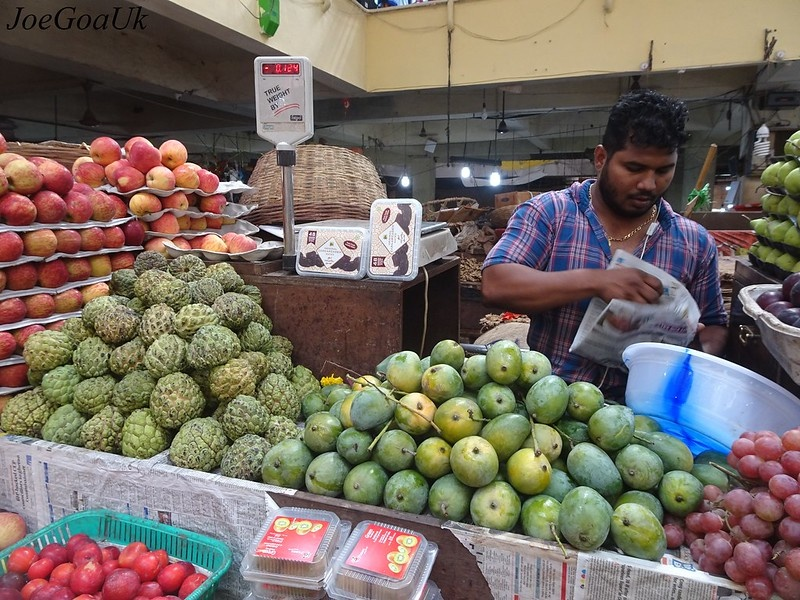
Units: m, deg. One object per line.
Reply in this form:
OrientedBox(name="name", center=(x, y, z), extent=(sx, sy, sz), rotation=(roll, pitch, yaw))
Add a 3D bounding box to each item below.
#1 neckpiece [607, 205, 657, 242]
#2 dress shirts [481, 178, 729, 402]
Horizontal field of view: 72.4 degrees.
OrientedBox(name="neckpiece", center=(0.931, -0.319, 2.232), extent=(0.033, 0.181, 0.140), rotation=(39, 32, 18))
OrientedBox(name="dress shirts", center=(0.838, -0.092, 2.292), extent=(0.903, 0.888, 0.562), rotation=(-4, 24, 15))
